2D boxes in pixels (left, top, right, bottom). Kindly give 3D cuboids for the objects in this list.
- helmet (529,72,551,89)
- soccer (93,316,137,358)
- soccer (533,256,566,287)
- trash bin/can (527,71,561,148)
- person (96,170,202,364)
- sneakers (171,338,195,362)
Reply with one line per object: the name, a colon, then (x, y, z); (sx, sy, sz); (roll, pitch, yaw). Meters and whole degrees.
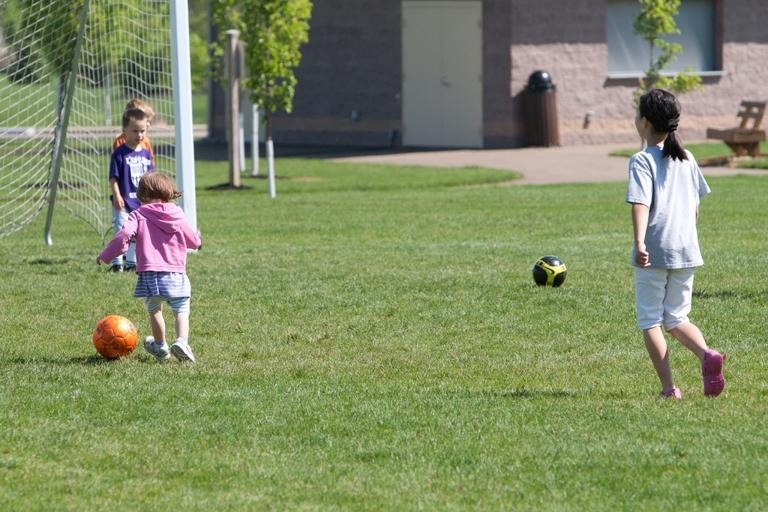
helmet: (3.650, -4.119, 31.714); (0.425, 0.339, 0.431); (0, 3, 7)
soccer: (-3.203, 0.939, 16.450); (0.502, 0.532, 0.490); (-1, 18, 4)
soccer: (2.220, 0.217, 18.333); (0.421, 0.412, 0.396); (6, 0, -35)
trash bin/can: (3.744, -3.471, 31.978); (0.751, 1.784, 0.479); (-1, 11, 1)
person: (-2.703, 0.144, 16.141); (0.992, 2.232, 0.578); (-2, 11, -1)
sneakers: (-2.380, 1.162, 16.149); (0.150, 0.180, 0.383); (-15, -42, 24)
